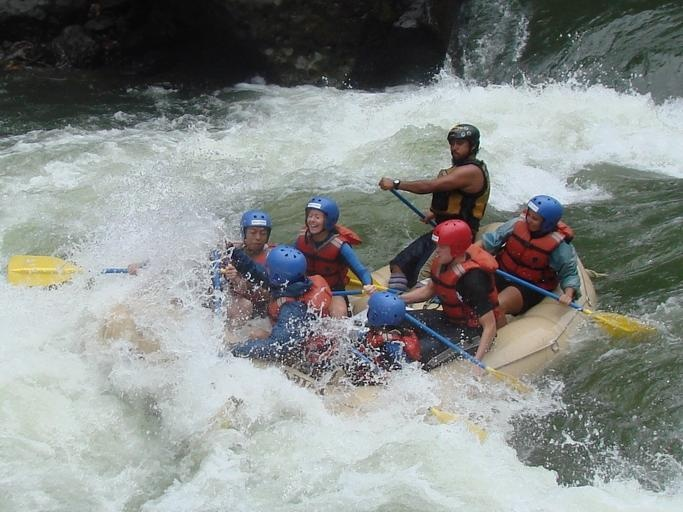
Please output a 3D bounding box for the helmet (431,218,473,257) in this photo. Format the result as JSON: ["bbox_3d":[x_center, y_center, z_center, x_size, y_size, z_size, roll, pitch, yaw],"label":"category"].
[{"bbox_3d":[1.157,-0.214,6.964,0.403,0.359,0.475,20,26,28],"label":"helmet"}]

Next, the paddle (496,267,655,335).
[{"bbox_3d":[2.627,0.540,7.504,1.435,0.233,0.164,24,18,0],"label":"paddle"}]

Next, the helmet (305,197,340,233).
[{"bbox_3d":[-0.209,-0.514,7.576,0.429,0.345,0.392,9,10,-12],"label":"helmet"}]

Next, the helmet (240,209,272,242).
[{"bbox_3d":[-0.995,-0.383,7.598,0.305,0.318,0.361,2,8,-14],"label":"helmet"}]

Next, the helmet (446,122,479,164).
[{"bbox_3d":[1.510,-1.379,7.995,0.417,0.480,0.400,6,8,14],"label":"helmet"}]

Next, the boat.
[{"bbox_3d":[0.412,0.944,7.049,4.042,0.752,2.226,-11,36,0],"label":"boat"}]

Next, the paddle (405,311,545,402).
[{"bbox_3d":[1.411,1.103,6.954,1.519,0.212,0.099,32,70,20],"label":"paddle"}]

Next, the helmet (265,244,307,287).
[{"bbox_3d":[-0.573,0.120,6.997,0.536,0.385,0.380,3,15,19],"label":"helmet"}]

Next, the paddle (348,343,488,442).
[{"bbox_3d":[0.741,1.431,6.689,1.612,0.219,0.192,31,10,19],"label":"paddle"}]
